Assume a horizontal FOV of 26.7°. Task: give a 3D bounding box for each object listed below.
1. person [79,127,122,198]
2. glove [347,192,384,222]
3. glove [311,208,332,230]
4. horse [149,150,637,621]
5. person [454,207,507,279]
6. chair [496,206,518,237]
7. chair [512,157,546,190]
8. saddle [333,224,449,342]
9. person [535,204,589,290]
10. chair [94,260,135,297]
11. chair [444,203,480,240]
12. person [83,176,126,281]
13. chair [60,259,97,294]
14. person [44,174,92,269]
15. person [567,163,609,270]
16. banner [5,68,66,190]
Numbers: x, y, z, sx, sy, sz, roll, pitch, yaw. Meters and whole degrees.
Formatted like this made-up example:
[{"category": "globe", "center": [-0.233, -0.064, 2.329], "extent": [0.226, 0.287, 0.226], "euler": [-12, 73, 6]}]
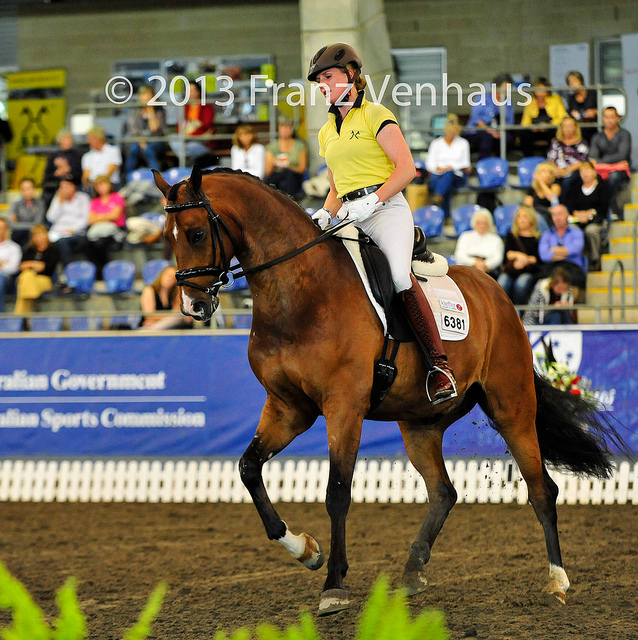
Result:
[{"category": "person", "center": [-2.686, -1.905, 16.183], "extent": [0.515, 0.923, 0.416], "euler": [-21, 38, -27]}, {"category": "glove", "center": [0.333, -0.772, 9.226], "extent": [0.220, 0.156, 0.070], "euler": [-28, -12, 7]}, {"category": "glove", "center": [0.044, -0.737, 9.635], "extent": [0.112, 0.176, 0.063], "euler": [2, 5, -21]}, {"category": "horse", "center": [0.600, 0.432, 9.898], "extent": [3.630, 3.077, 2.220], "euler": [-2, 7, -13]}, {"category": "person", "center": [1.807, -0.844, 14.477], "extent": [0.546, 0.882, 1.033], "euler": [-3, -26, 2]}, {"category": "chair", "center": [2.201, -1.113, 15.374], "extent": [0.296, 0.469, 0.433], "euler": [2, 6, 6]}, {"category": "chair", "center": [2.611, -1.791, 16.302], "extent": [0.368, 0.487, 0.385], "euler": [5, -10, 11]}, {"category": "saddle", "center": [0.582, -0.319, 9.534], "extent": [0.609, 0.917, 0.313], "euler": [-21, -3, 9]}, {"category": "person", "center": [2.603, -0.691, 14.053], "extent": [0.534, 1.022, 0.531], "euler": [-1, 2, 17]}, {"category": "chair", "center": [-2.351, -0.499, 15.297], "extent": [0.298, 0.464, 0.375], "euler": [-1, -8, 7]}, {"category": "chair", "center": [1.745, -1.187, 15.752], "extent": [0.359, 0.482, 0.454], "euler": [-3, -38, 3]}, {"category": "person", "center": [-2.596, -1.110, 15.752], "extent": [0.449, 1.175, 0.560], "euler": [-7, -16, 38]}, {"category": "chair", "center": [-2.726, -0.472, 15.000], "extent": [0.386, 0.288, 0.770], "euler": [-2, 8, -11]}, {"category": "person", "center": [-2.936, -1.125, 15.569], "extent": [0.542, 0.954, 0.886], "euler": [-1, 7, -11]}, {"category": "person", "center": [3.029, -1.153, 14.750], "extent": [0.404, 1.185, 0.584], "euler": [0, 10, 38]}, {"category": "banner", "center": [-4.434, -3.249, 20.745], "extent": [0.927, 1.278, 0.775], "euler": [-1, 7, -10]}]
